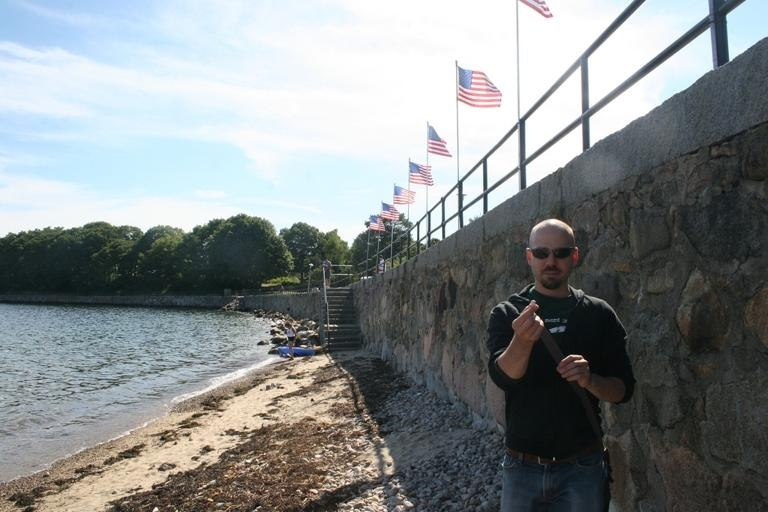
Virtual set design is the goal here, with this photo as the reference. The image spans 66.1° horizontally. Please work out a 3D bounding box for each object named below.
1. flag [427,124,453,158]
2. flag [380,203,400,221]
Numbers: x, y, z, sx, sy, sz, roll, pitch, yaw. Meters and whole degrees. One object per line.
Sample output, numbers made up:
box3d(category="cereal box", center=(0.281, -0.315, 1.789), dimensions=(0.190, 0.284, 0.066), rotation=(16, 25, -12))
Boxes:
box3d(category="flag", center=(1.256, -2.806, 14.312), dimensions=(0.437, 0.741, 1.471), rotation=(-7, 1, 5))
box3d(category="flag", center=(0.231, -1.665, 22.448), dimensions=(0.588, 0.596, 0.661), rotation=(-7, 2, 6))
